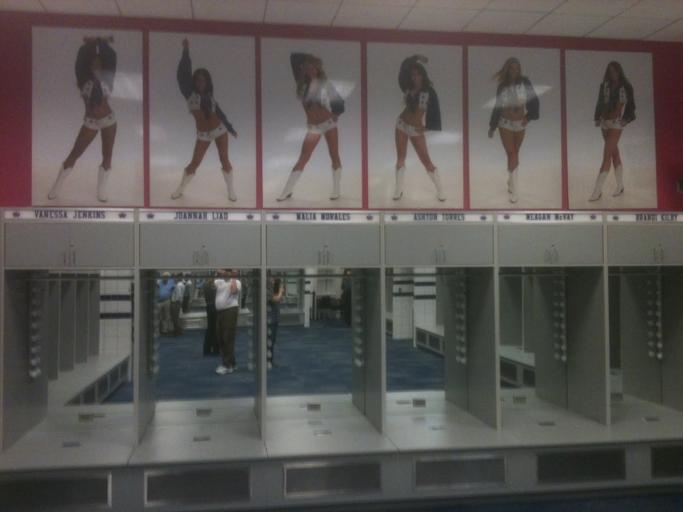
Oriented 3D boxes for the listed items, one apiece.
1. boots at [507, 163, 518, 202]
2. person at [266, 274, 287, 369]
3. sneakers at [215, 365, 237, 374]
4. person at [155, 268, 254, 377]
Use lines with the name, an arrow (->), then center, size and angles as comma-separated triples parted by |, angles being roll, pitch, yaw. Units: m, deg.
boots -> 2.002, -0.813, 7.569 | 0.107, 0.278, 0.382 | -4, 34, 8
person -> -0.728, 0.759, 7.176 | 0.198, 1.018, 0.209 | -1, 1, -10
sneakers -> -1.313, 1.274, 7.268 | 0.187, 0.099, 0.095 | 9, 1, -12
person -> -1.496, 0.799, 7.134 | 0.859, 0.715, 0.263 | -2, 2, -19
